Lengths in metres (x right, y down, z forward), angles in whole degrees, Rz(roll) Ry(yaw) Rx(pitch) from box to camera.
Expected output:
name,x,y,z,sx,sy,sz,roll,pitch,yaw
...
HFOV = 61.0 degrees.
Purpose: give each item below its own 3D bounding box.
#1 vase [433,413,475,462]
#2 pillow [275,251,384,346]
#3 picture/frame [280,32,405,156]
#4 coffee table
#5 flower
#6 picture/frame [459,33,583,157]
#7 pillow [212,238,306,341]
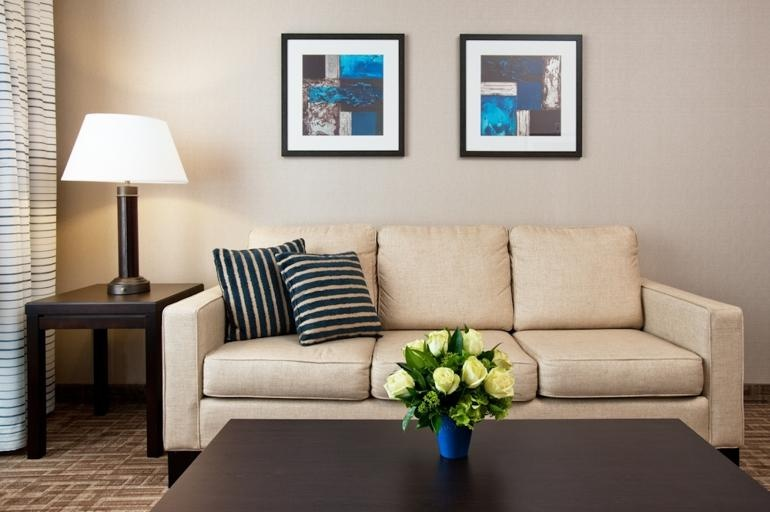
name,x,y,z,sx,sy,sz,roll,pitch,yaw
vase,0.311,0.841,3.010,0.197,0.158,0.199,-3,-14,6
pillow,-0.344,0.215,3.862,0.608,0.536,0.177,-8,-20,-38
picture/frame,-0.285,-1.135,4.430,0.877,0.787,0.064,0,3,1
coffee table,-1.679,0.595,4.254,0.953,1.034,1.273,0,1,-4
flower,0.305,0.503,2.987,0.507,0.400,0.509,-3,-5,29
picture/frame,0.931,-1.129,4.430,0.875,0.786,0.057,-1,4,0
pillow,-0.745,0.224,3.891,0.510,0.431,0.244,-16,19,-31
